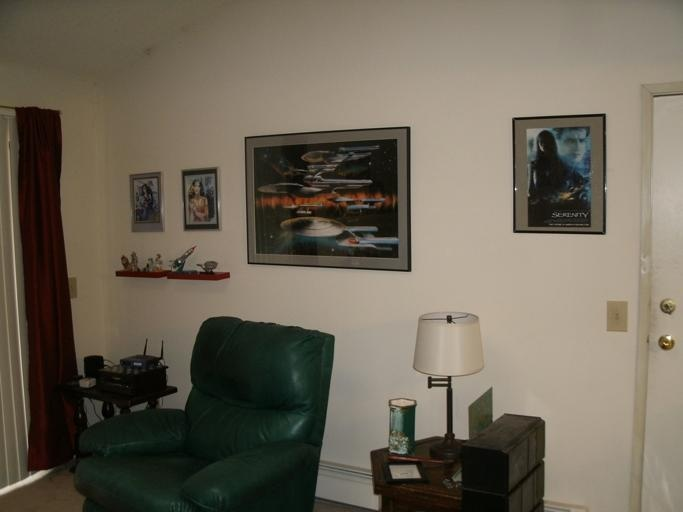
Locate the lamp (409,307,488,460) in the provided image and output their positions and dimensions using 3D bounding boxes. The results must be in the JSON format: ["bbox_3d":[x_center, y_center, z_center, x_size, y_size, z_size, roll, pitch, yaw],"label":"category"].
[{"bbox_3d":[0.591,0.693,3.063,0.355,0.769,0.439,0,2,14],"label":"lamp"}]

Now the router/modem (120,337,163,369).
[{"bbox_3d":[-1.471,0.702,4.166,0.227,0.177,0.235,-2,-5,34],"label":"router/modem"}]

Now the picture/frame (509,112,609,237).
[{"bbox_3d":[1.268,-0.479,3.182,0.648,0.942,0.034,0,5,20],"label":"picture/frame"}]

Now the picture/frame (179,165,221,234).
[{"bbox_3d":[-1.045,-0.429,4.126,0.433,0.639,0.042,4,11,24],"label":"picture/frame"}]

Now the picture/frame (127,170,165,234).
[{"bbox_3d":[-1.533,-0.435,4.356,0.415,0.631,0.046,5,13,26],"label":"picture/frame"}]
